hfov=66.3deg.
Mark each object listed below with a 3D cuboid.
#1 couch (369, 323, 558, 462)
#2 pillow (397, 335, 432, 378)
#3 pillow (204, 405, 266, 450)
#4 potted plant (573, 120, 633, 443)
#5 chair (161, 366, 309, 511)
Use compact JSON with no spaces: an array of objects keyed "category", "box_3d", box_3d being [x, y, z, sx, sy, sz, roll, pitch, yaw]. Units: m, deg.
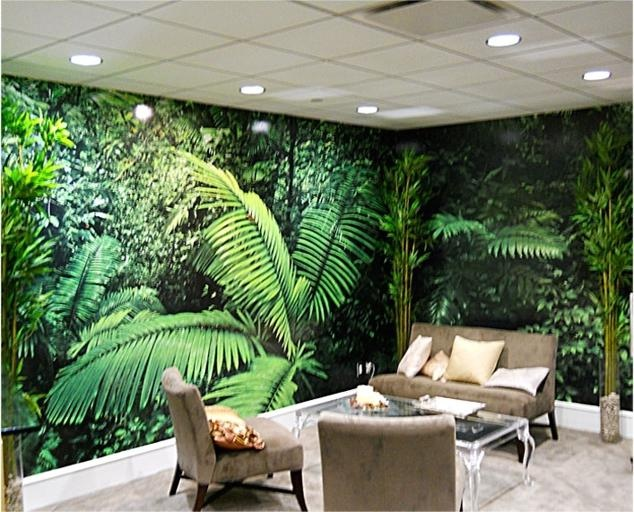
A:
[{"category":"couch","box_3d":[1.528,1.311,5.174,0.872,1.032,1.826,2,-5,-38]},{"category":"pillow","box_3d":[1.075,1.090,5.322,0.111,0.382,0.373,27,-18,-12]},{"category":"pillow","box_3d":[-0.585,1.211,3.498,0.405,0.263,0.401,-1,3,-16]},{"category":"potted plant","box_3d":[2.791,0.060,4.761,0.510,2.718,0.318,1,4,29]},{"category":"chair","box_3d":[-0.651,1.323,3.869,1.059,1.249,0.839,0,1,-24]}]
